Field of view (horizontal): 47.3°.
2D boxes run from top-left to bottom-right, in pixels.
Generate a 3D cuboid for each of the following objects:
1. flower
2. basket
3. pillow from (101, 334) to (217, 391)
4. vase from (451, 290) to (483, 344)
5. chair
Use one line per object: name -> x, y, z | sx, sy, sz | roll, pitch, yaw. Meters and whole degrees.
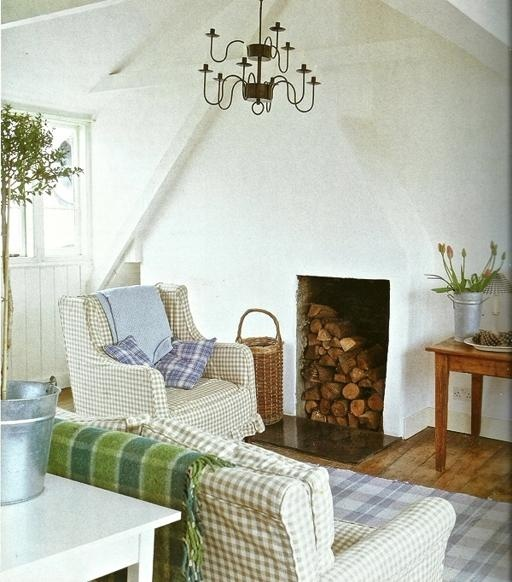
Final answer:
flower -> 1.156, -0.108, 3.214 | 0.358, 0.247, 0.322 | -2, -1, 45
basket -> 0.055, 0.451, 3.854 | 0.278, 0.588, 0.269 | -10, 13, -13
pillow -> -0.482, 0.329, 3.138 | 0.355, 0.111, 0.359 | 7, 9, 23
vase -> 1.149, 0.135, 3.115 | 0.189, 0.253, 0.179 | 1, 0, 11
chair -> -0.485, 0.393, 3.158 | 0.788, 0.770, 0.835 | 3, 5, 39
